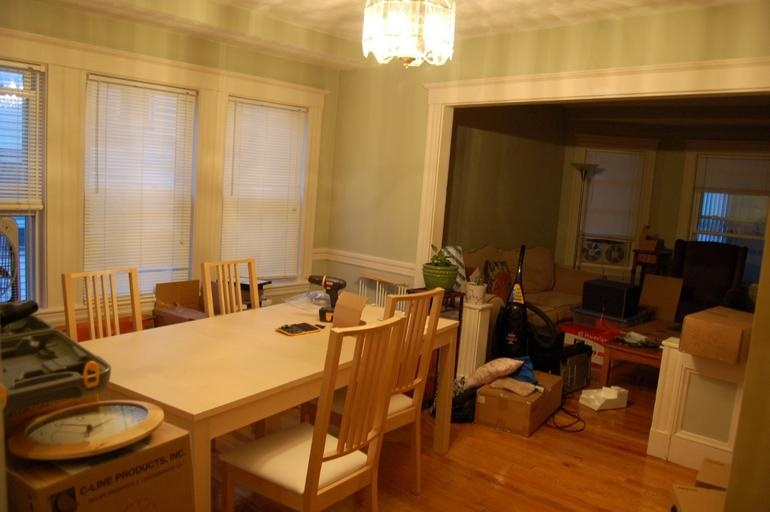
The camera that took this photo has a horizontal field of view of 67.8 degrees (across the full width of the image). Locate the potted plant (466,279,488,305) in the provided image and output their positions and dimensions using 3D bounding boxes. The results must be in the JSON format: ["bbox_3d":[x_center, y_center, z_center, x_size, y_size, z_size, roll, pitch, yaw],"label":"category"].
[{"bbox_3d":[0.816,0.333,5.135,0.174,0.148,0.189,11,11,38],"label":"potted plant"}]

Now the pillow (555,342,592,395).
[{"bbox_3d":[1.798,1.062,5.387,0.378,0.477,0.220,10,-3,-33],"label":"pillow"}]

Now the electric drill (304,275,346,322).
[{"bbox_3d":[-0.417,0.279,4.066,0.283,0.311,0.229,6,8,7],"label":"electric drill"}]

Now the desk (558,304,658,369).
[{"bbox_3d":[2.241,0.865,6.113,0.705,0.553,1.184,5,8,-5],"label":"desk"}]

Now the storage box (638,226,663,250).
[{"bbox_3d":[3.635,-0.228,7.921,0.325,0.416,0.434,2,7,34],"label":"storage box"}]

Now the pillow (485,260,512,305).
[{"bbox_3d":[1.250,0.302,6.783,0.437,0.435,0.176,10,-25,-38],"label":"pillow"}]
